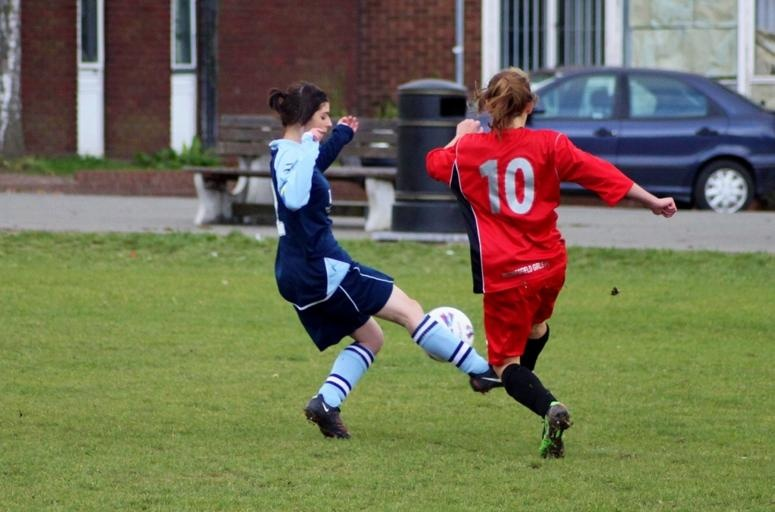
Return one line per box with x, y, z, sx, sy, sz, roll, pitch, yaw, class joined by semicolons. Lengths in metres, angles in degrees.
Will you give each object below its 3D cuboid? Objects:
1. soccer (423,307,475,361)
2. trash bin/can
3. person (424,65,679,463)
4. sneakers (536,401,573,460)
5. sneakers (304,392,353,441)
0.356;0.531;12.094;0.240;0.429;0.709;1;-5;-20;soccer
0.393;-1.005;16.666;0.583;1.648;0.556;-14;20;-39;trash bin/can
1.170;0.047;12.007;1.064;2.674;1.535;-2;3;-42;person
1.112;1.137;11.400;0.187;0.377;0.167;0;4;-1;sneakers
-0.396;1.070;11.586;0.212;0.431;0.156;-49;14;-18;sneakers
